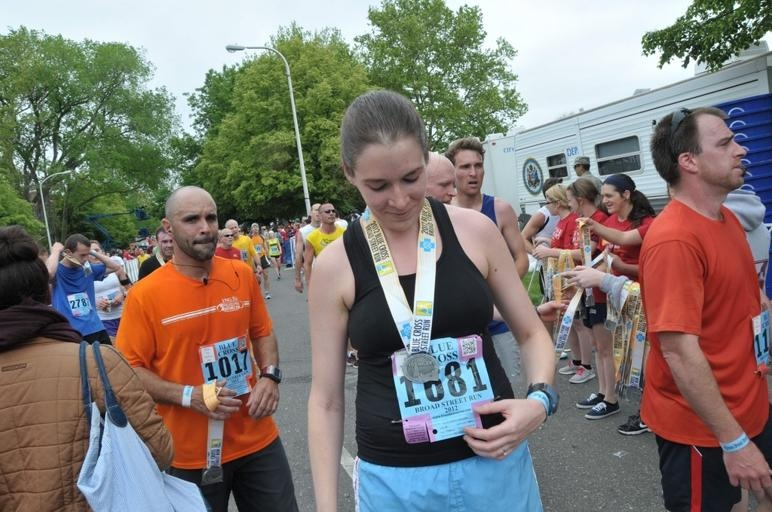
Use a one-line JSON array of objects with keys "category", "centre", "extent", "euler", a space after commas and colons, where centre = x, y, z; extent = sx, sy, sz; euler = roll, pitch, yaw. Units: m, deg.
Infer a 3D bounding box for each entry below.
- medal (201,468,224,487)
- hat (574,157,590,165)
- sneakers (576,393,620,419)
[{"category": "medal", "centre": [-1.115, 1.426, 3.083], "extent": [0.133, 0.124, 0.019], "euler": [-2, 13, -25]}, {"category": "hat", "centre": [3.738, -1.842, 9.187], "extent": [0.300, 0.108, 0.306], "euler": [0, 3, 29]}, {"category": "sneakers", "centre": [2.322, 1.668, 5.277], "extent": [0.300, 0.119, 0.254], "euler": [2, -2, -17]}]
